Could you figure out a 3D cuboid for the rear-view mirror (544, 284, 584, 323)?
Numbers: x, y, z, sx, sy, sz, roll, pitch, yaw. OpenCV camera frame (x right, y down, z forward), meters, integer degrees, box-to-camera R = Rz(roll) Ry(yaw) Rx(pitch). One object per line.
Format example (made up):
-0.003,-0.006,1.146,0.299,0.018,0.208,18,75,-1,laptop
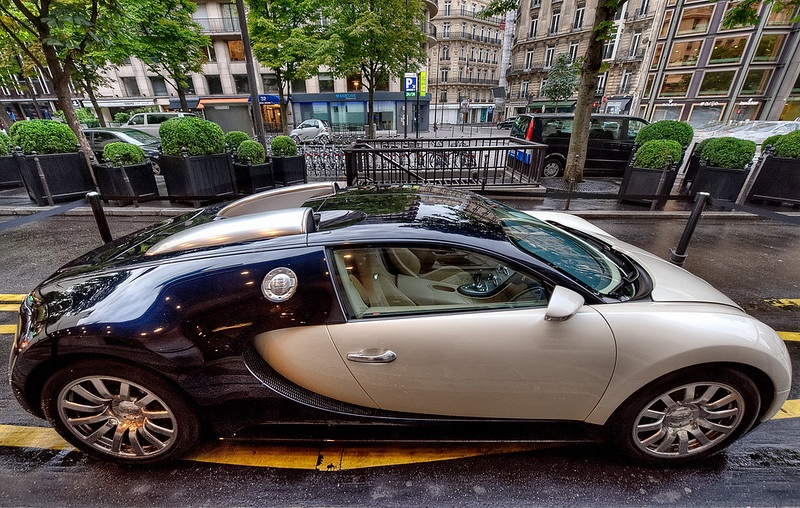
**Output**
1.728,0.556,4.566,0.284,0.347,0.316,14,28,29,rear-view mirror

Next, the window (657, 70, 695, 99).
20.127,-12.311,31.602,0.194,2.237,2.353,-21,42,-40,window

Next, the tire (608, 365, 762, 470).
3.086,1.763,4.790,1.394,1.219,0.411,0,20,2,tire

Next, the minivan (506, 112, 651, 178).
5.533,-3.599,13.757,3.969,1.463,2.198,-4,27,-1,minivan

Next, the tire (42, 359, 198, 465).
-3.063,1.721,4.776,1.406,1.330,0.397,-26,23,17,tire

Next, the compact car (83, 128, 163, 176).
-8.987,-3.361,14.459,2.943,1.427,1.820,18,30,36,compact car

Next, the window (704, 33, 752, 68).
22.427,-13.811,29.580,0.215,2.688,2.901,-8,13,-36,window

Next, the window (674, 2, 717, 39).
20.846,-16.381,30.675,1.937,2.350,1.715,-28,41,-33,window

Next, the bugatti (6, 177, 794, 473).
0.074,0.960,5.456,8.073,2.033,3.528,1,21,0,bugatti
